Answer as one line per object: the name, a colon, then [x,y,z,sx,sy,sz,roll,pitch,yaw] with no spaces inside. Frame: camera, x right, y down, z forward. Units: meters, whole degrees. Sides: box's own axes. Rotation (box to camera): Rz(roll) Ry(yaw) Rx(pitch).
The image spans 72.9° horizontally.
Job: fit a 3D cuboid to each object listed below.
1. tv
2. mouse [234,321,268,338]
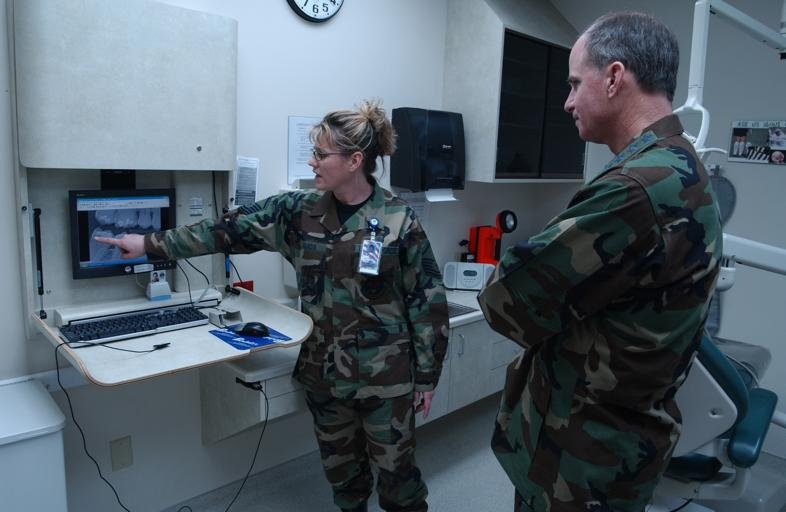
tv: [-1.313,-0.116,2.526,0.441,0.372,0.033,-4,6,-37]
mouse: [-0.669,0.337,2.494,0.129,0.045,0.070,6,4,1]
